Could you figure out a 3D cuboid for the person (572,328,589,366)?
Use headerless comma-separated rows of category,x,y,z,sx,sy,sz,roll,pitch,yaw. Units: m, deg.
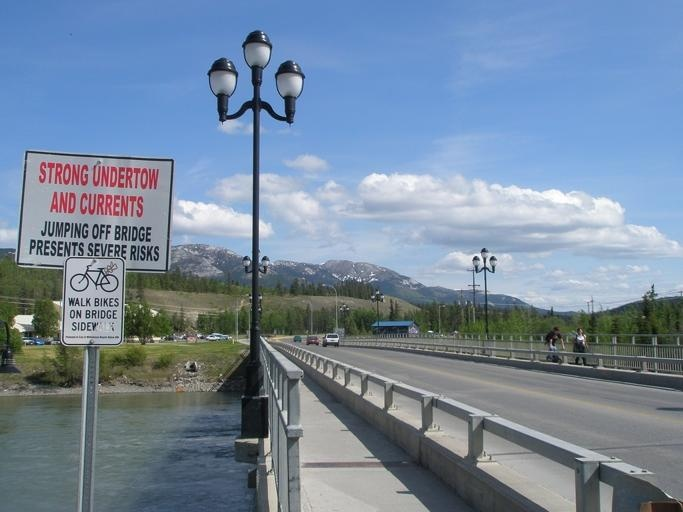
person,10.803,4.036,31.523,0.610,1.660,3.976,-2,-8,19

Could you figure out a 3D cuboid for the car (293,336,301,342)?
car,-8.663,16.224,137.937,1.400,1.363,2.625,0,-10,-3
